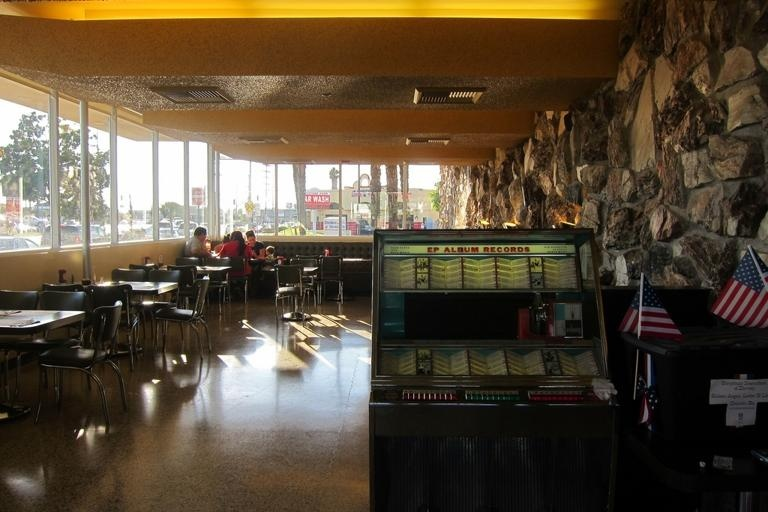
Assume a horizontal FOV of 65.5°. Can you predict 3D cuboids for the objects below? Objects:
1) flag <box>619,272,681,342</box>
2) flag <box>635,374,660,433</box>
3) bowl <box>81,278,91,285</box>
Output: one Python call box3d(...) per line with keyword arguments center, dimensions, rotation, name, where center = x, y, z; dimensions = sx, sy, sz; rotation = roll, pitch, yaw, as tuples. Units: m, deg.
box3d(center=(1.931, 0.369, 4.276), dimensions=(0.262, 0.429, 0.408), rotation=(-4, 14, -18), name="flag")
box3d(center=(1.867, 1.036, 4.204), dimensions=(0.061, 0.355, 0.184), rotation=(-2, 14, -10), name="flag")
box3d(center=(-3.950, 0.329, 7.871), dimensions=(0.089, 0.078, 0.127), rotation=(-6, -5, 44), name="bowl")
